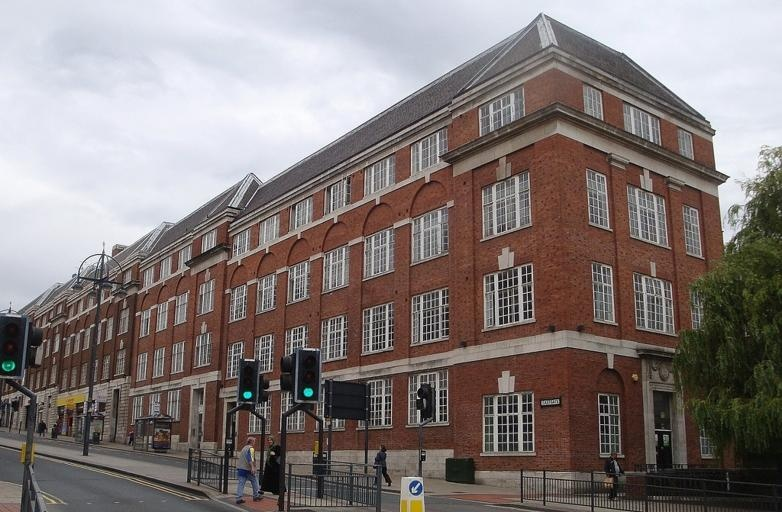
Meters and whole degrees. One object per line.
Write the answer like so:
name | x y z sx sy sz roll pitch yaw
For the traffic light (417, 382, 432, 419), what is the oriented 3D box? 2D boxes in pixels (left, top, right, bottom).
traffic light | 1.334 5.772 27.596 0.617 1.435 0.800 1 -23 2

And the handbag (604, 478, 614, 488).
handbag | 8.585 8.852 27.011 0.308 0.407 1.399 -5 -24 15

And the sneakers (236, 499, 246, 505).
sneakers | -5.783 9.362 26.318 0.289 0.192 0.156 -13 -21 24
